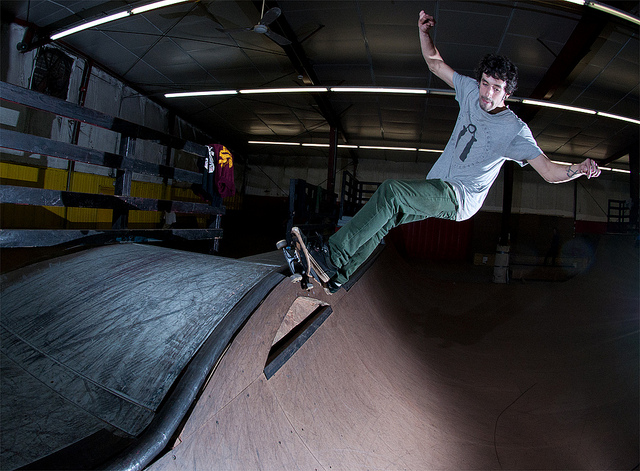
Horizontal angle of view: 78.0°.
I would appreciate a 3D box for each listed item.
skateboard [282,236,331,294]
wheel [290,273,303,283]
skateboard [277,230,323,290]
[{"bbox_3d":[-0.226,0.269,3.594,0.251,0.266,0.765,-37,3,-34],"label":"skateboard"},{"bbox_3d":[-0.199,0.365,3.429,0.084,0.075,0.159,3,1,26],"label":"wheel"},{"bbox_3d":[-0.187,0.192,3.450,0.392,0.213,0.556,-32,43,-31],"label":"skateboard"}]
